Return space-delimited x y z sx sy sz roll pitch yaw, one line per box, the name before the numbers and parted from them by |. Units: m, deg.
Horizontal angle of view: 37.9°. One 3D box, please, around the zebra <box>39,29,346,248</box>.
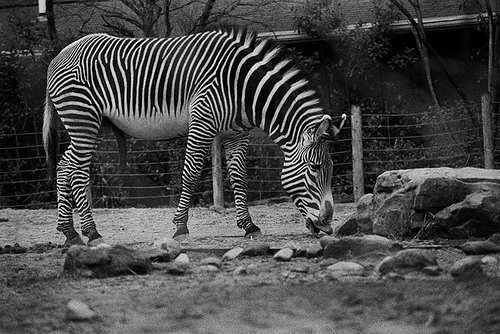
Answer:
zebra | -0.934 -0.377 10.402 4.484 3.053 1.304 2 1 13
